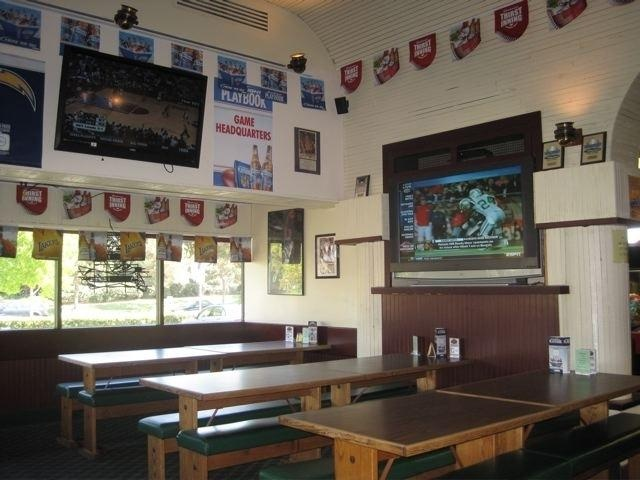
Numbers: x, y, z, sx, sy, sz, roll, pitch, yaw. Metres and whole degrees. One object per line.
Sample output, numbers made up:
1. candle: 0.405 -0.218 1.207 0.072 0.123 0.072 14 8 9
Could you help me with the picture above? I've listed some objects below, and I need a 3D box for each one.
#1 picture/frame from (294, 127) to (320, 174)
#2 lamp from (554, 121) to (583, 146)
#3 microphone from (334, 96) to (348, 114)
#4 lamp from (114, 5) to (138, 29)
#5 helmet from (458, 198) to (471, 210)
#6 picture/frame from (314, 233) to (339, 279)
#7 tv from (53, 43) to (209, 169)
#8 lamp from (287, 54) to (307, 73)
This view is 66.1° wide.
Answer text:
1. picture/frame: -0.166 -1.157 6.470 0.421 0.585 0.026 4 -6 -39
2. lamp: 2.465 -1.073 4.882 0.240 0.249 0.309 -3 -5 27
3. microphone: 0.292 -1.813 6.741 0.203 0.251 0.261 -8 12 -20
4. lamp: -1.981 -2.268 5.025 0.216 0.194 0.140 2 -5 -24
5. helmet: 1.620 -0.401 5.510 0.120 0.120 0.094 16 -9 -32
6. picture/frame: 0.113 0.248 7.308 0.069 0.898 0.687 2 -3 -42
7. tv: -1.975 -1.331 4.998 1.585 1.005 0.165 0 15 -35
8. lamp: -0.270 -2.239 6.275 0.237 0.221 0.240 -6 16 -22
